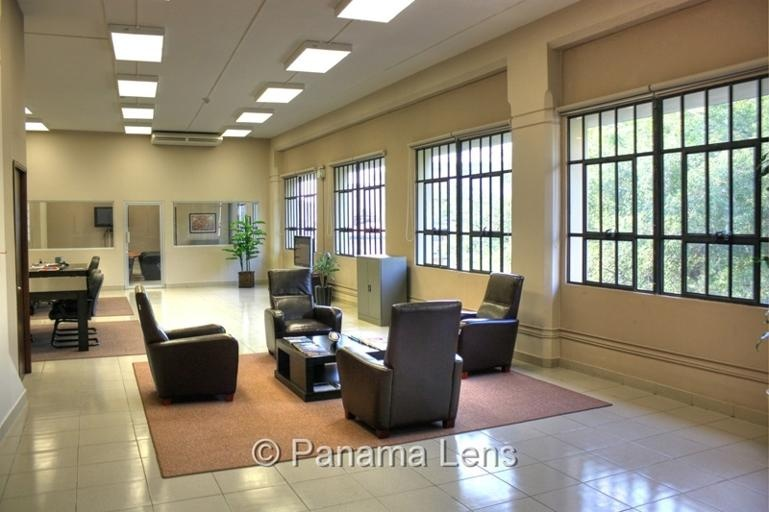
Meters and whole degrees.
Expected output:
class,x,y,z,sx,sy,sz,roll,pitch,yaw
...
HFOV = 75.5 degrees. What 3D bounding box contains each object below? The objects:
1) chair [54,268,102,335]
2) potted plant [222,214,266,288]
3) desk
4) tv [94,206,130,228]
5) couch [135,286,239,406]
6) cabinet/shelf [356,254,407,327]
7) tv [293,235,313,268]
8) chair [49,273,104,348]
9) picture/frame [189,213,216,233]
class,x,y,z,sx,sy,sz,roll,pitch,yaw
chair,-5.443,0.878,8.797,0.870,1.137,0.812,2,0,-37
potted plant,-4.324,-0.194,15.680,1.223,2.193,1.501,-1,7,-13
desk,-5.151,0.892,7.958,0.755,1.295,0.528,-4,8,-31
tv,-8.098,-1.171,14.754,0.659,0.634,0.067,1,2,-32
couch,-2.389,1.167,6.549,1.413,1.506,1.428,-1,2,-21
cabinet/shelf,-0.029,0.650,9.493,0.918,1.628,1.426,1,-2,-26
tv,-2.212,-0.122,13.719,0.130,0.781,0.956,0,0,-28
chair,-5.492,0.859,8.858,0.883,1.189,0.929,16,14,36
picture/frame,-5.765,-1.061,15.721,0.666,0.536,0.054,-1,6,-19
